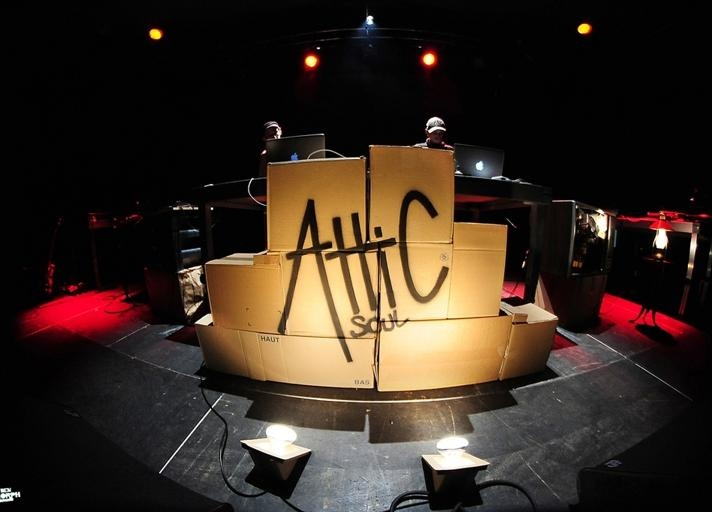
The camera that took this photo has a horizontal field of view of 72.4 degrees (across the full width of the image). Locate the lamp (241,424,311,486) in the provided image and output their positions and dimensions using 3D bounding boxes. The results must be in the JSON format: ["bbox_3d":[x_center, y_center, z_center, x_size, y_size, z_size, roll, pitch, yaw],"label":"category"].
[{"bbox_3d":[-0.670,1.660,4.061,0.471,0.341,0.518,17,-9,-42],"label":"lamp"}]

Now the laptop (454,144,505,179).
[{"bbox_3d":[1.227,-0.920,4.816,0.472,0.347,0.352,7,29,0],"label":"laptop"}]

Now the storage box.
[{"bbox_3d":[0.175,0.190,4.521,2.387,1.759,0.736,1,1,2],"label":"storage box"}]

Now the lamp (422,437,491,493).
[{"bbox_3d":[0.802,1.721,3.959,0.456,0.444,0.459,1,-1,-15],"label":"lamp"}]
